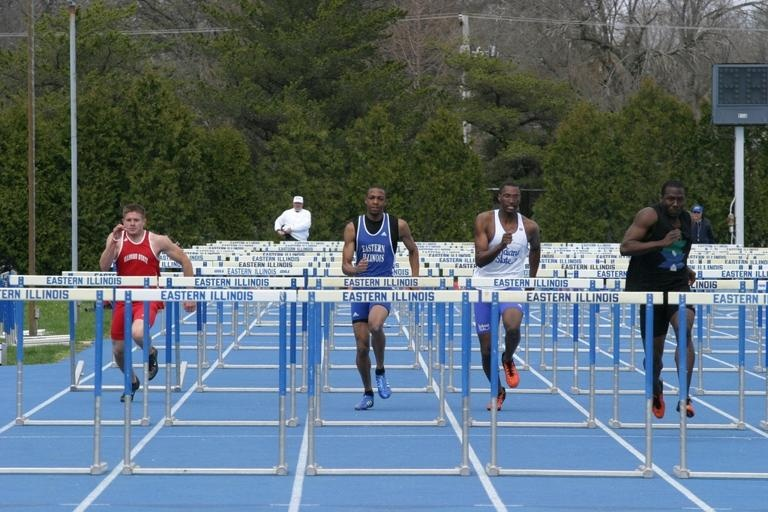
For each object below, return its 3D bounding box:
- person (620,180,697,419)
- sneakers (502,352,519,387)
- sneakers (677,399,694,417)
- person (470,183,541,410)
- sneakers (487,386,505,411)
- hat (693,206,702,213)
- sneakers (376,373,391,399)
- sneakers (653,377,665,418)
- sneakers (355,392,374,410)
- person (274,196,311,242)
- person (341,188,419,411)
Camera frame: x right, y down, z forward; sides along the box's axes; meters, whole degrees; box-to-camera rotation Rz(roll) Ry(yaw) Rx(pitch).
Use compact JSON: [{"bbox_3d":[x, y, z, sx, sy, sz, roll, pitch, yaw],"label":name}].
[{"bbox_3d":[4.322,0.731,21.417,1.201,3.804,1.032,0,3,1],"label":"person"},{"bbox_3d":[2.066,1.920,22.399,0.222,0.629,0.245,-13,-5,5],"label":"sneakers"},{"bbox_3d":[4.657,2.367,21.159,0.248,0.173,0.433,19,-10,21],"label":"sneakers"},{"bbox_3d":[1.893,0.714,22.088,0.869,3.771,1.460,1,3,23],"label":"person"},{"bbox_3d":[1.822,2.336,22.326,0.202,0.260,0.606,2,1,16],"label":"sneakers"},{"bbox_3d":[7.433,-1.118,32.489,0.239,0.137,0.383,-1,0,11],"label":"hat"},{"bbox_3d":[-0.042,2.182,22.621,0.179,0.500,0.212,-12,-24,-12],"label":"sneakers"},{"bbox_3d":[4.348,2.260,21.621,0.217,0.667,0.261,-1,10,22],"label":"sneakers"},{"bbox_3d":[-0.350,2.434,22.603,0.153,0.199,0.435,-2,-7,22],"label":"sneakers"},{"bbox_3d":[-2.274,-0.911,33.314,0.815,1.058,0.953,0,3,4],"label":"person"},{"bbox_3d":[-0.124,0.706,22.454,1.184,3.720,1.416,0,3,-1],"label":"person"}]
